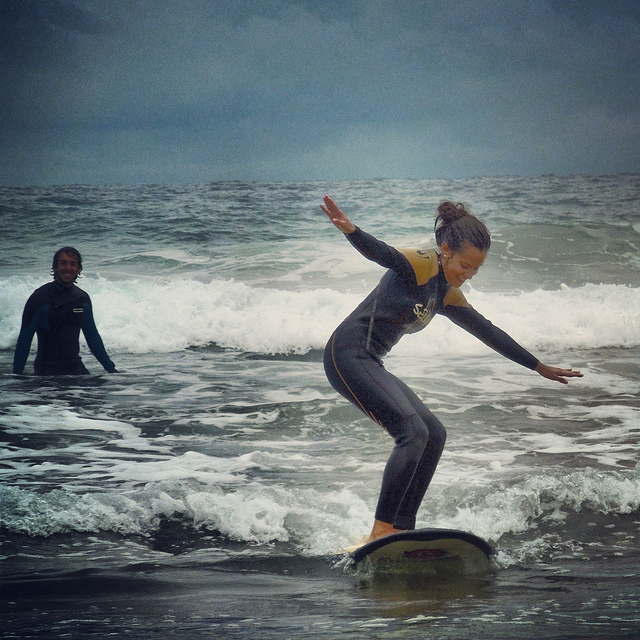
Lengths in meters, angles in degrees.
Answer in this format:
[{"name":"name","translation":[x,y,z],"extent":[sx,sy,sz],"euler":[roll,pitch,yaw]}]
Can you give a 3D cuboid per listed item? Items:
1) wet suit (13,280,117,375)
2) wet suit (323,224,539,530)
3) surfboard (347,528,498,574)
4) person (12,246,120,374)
[{"name":"wet suit","translation":[-2.786,0.116,9.746],"extent":[0.961,1.109,0.518],"euler":[-6,14,-23]},{"name":"wet suit","translation":[0.623,0.325,5.669],"extent":[0.955,1.832,0.693],"euler":[-7,15,-27]},{"name":"surfboard","translation":[0.609,1.383,5.426],"extent":[0.636,0.053,0.397],"euler":[-6,-38,5]},{"name":"person","translation":[-2.761,-0.072,9.660],"extent":[0.961,1.443,0.592],"euler":[-6,15,-25]}]
